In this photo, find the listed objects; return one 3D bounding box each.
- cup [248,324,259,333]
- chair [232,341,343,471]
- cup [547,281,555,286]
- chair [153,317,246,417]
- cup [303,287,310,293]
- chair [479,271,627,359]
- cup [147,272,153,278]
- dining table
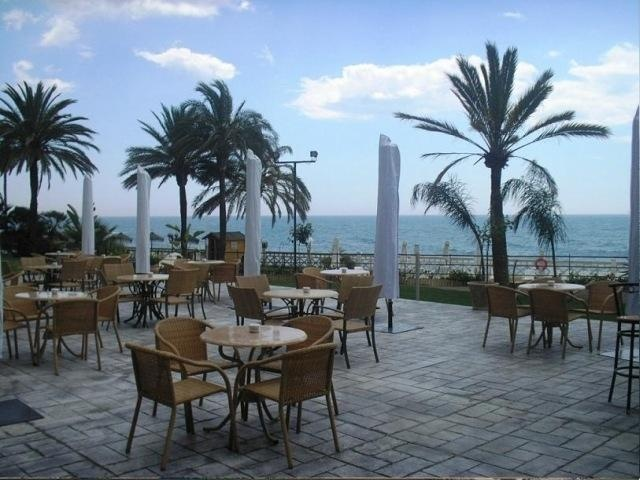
[{"bbox_3d":[-0.670,0.888,5.072,0.085,0.054,0.085,1,2,0],"label":"cup"},{"bbox_3d":[-0.208,1.437,5.040,1.037,1.359,1.075,6,6,44],"label":"chair"},{"bbox_3d":[3.880,0.723,8.428,0.087,0.077,0.088,-1,7,0],"label":"cup"},{"bbox_3d":[-1.293,1.183,5.155,0.651,0.900,0.738,-5,-4,44],"label":"chair"},{"bbox_3d":[-0.211,0.742,7.466,0.072,0.062,0.073,0,-2,0],"label":"cup"},{"bbox_3d":[4.063,1.204,8.783,1.850,1.095,2.935,3,4,31],"label":"chair"},{"bbox_3d":[-3.268,0.667,9.669,0.105,0.106,0.105,1,6,0],"label":"cup"},{"bbox_3d":[-0.661,1.473,4.984,1.099,0.747,1.091,0,0,-10],"label":"dining table"}]
